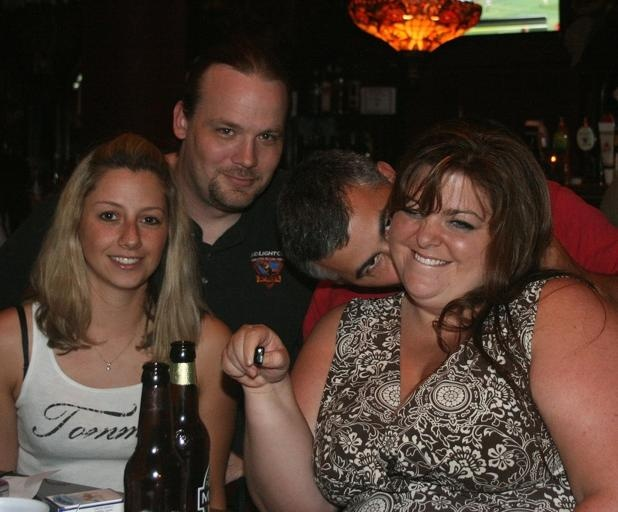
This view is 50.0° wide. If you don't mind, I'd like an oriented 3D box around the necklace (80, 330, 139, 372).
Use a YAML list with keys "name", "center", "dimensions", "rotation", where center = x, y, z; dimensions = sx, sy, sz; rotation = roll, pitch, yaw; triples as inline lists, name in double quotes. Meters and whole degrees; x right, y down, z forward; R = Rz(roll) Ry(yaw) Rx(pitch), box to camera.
- name: "necklace"
  center: [-0.734, 0.354, 2.407]
  dimensions: [0.118, 0.112, 0.031]
  rotation: [0, -23, 3]

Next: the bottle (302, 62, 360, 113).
- name: "bottle"
  center: [0.159, -1.380, 5.470]
  dimensions: [0.456, 0.450, 0.247]
  rotation: [0, 3, 1]
